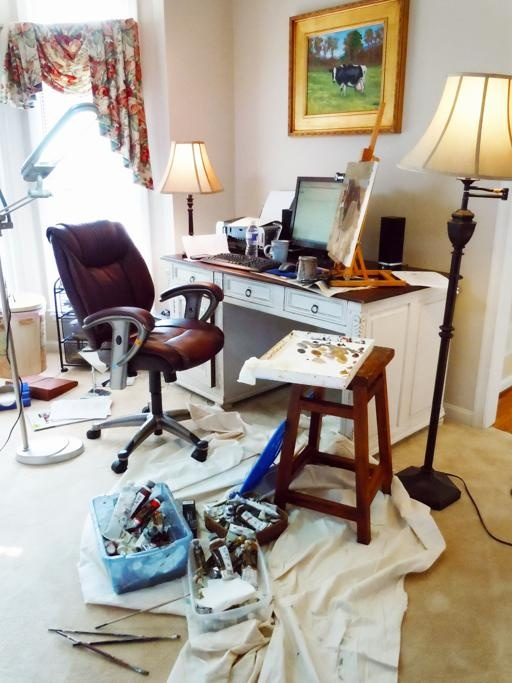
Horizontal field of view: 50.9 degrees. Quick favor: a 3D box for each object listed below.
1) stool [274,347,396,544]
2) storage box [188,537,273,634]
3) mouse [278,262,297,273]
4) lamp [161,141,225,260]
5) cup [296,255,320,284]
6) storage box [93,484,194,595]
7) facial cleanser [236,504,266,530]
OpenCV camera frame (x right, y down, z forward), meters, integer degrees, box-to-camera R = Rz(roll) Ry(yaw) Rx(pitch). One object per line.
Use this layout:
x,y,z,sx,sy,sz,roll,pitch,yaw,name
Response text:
0.261,0.348,1.739,0.387,0.550,0.379,10,26,26,stool
-0.073,0.634,1.427,0.220,0.084,0.282,-3,22,-6,storage box
0.135,-0.321,2.303,0.076,0.022,0.099,0,22,1,mouse
-0.339,-0.757,2.844,0.346,0.556,0.301,6,23,15,lamp
0.197,-0.279,2.082,0.104,0.094,0.082,-7,17,-26,cup
-0.350,0.555,1.616,0.250,0.147,0.361,-9,23,-21,storage box
-0.011,0.528,1.640,0.034,0.012,0.060,-17,26,-28,facial cleanser
